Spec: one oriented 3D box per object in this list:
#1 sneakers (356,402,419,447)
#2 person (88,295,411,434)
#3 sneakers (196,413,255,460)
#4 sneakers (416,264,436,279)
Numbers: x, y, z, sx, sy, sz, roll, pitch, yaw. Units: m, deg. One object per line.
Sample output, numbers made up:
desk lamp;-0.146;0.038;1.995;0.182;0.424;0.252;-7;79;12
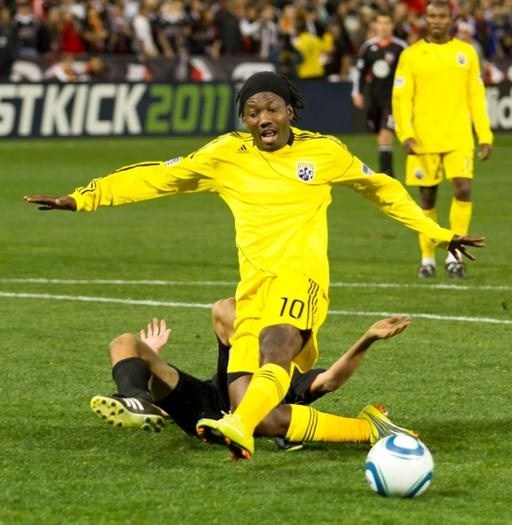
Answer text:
sneakers;0.466;0.579;3.238;0.203;0.111;0.079;21;-23;50
person;-0.025;0.427;3.186;1.104;0.538;0.729;3;11;14
sneakers;-0.097;0.552;2.777;0.168;0.161;0.111;-1;12;-7
sneakers;1.291;0.057;6.769;0.110;0.044;0.116;-3;39;10
